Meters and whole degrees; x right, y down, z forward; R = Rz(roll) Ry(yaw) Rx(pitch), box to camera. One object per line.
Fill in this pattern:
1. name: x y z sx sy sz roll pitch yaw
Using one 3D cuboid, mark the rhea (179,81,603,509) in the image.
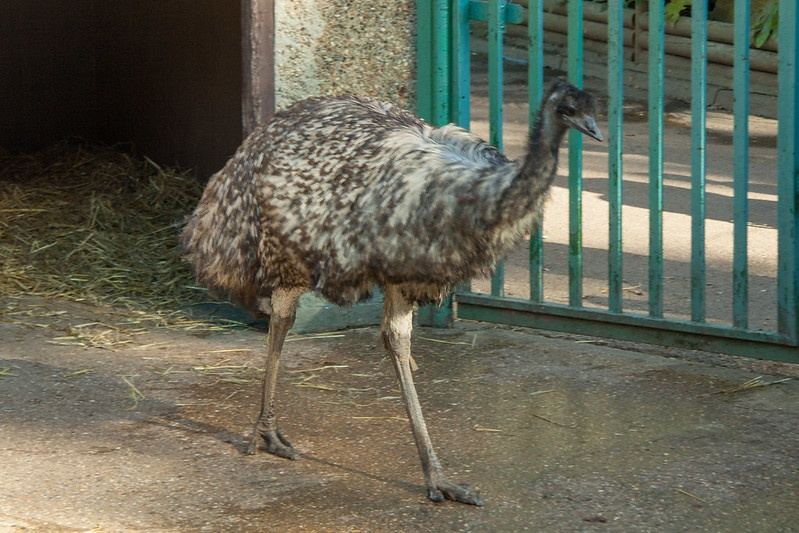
1. rhea: -0.036 0.048 3.849 1.680 1.839 0.732 15 20 31
